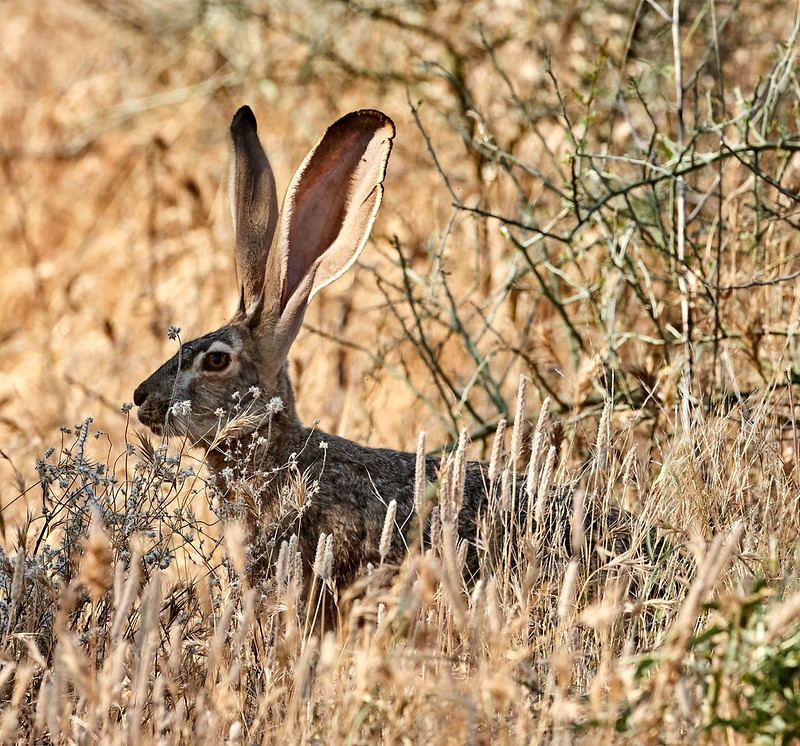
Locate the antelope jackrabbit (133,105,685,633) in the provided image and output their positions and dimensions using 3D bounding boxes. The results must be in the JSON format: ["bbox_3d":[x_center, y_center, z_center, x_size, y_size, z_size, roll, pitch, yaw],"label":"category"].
[{"bbox_3d":[-0.290,-0.035,5.001,1.532,2.230,0.840,-2,-29,9],"label":"antelope jackrabbit"}]
